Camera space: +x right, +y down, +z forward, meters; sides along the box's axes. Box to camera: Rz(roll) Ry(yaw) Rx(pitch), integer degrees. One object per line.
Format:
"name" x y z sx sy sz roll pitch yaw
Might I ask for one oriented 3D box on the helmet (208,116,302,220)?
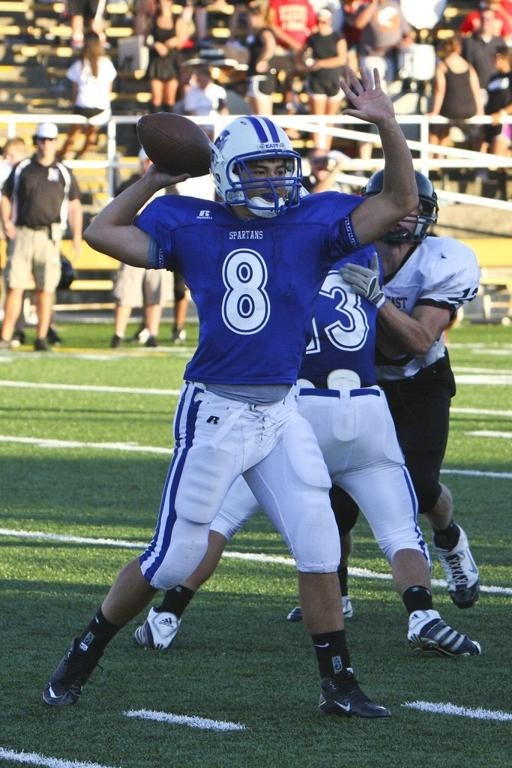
"helmet" -0.032 -0.516 2.493 0.210 0.194 0.260 -5 15 -26

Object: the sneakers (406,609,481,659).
"sneakers" 0.517 0.640 2.713 0.253 0.104 0.079 15 -24 -24

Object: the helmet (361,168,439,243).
"helmet" 0.427 -0.514 3.204 0.230 0.183 0.245 2 -15 2

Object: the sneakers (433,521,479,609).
"sneakers" 0.612 0.549 3.236 0.092 0.239 0.111 -21 -33 21

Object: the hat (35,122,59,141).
"hat" -1.777 -2.175 9.148 0.197 0.128 0.255 -1 3 -15

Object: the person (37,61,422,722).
"person" -0.039 -0.005 2.449 0.758 1.431 0.466 3 7 1

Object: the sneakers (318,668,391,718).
"sneakers" 0.205 0.689 2.387 0.197 0.107 0.067 0 -9 24
